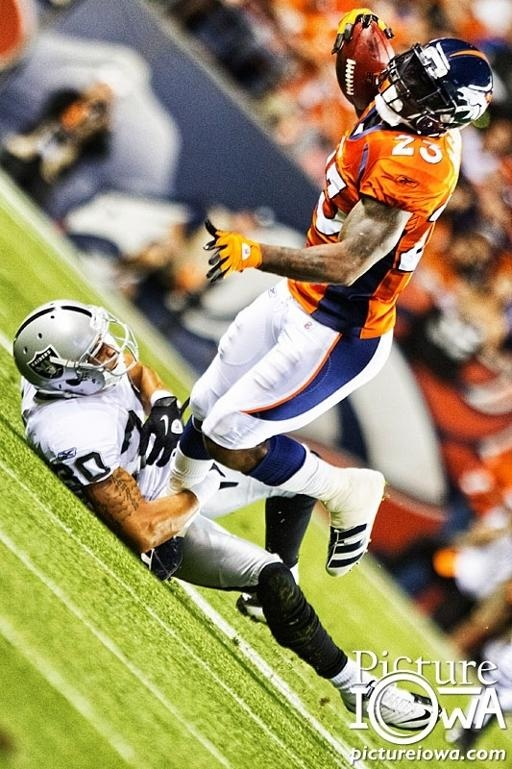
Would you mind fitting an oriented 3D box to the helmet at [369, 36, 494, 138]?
[{"bbox_3d":[0.435,-0.736,2.031,0.311,0.198,0.217,-15,-2,-26],"label":"helmet"}]

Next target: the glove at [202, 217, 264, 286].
[{"bbox_3d":[-0.056,-0.312,2.052,0.198,0.151,0.068,3,-8,-22],"label":"glove"}]

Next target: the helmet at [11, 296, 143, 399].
[{"bbox_3d":[-0.560,-0.105,2.582,0.416,0.242,0.274,2,40,-10],"label":"helmet"}]

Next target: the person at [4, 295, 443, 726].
[{"bbox_3d":[-0.177,0.441,2.904,1.707,1.208,0.609,18,27,-15],"label":"person"}]

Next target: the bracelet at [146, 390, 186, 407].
[{"bbox_3d":[-0.333,0.043,2.988,0.087,0.042,0.060,20,14,-26],"label":"bracelet"}]

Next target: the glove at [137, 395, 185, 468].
[{"bbox_3d":[-0.344,0.174,2.880,0.079,0.239,0.153,-2,-28,46],"label":"glove"}]
